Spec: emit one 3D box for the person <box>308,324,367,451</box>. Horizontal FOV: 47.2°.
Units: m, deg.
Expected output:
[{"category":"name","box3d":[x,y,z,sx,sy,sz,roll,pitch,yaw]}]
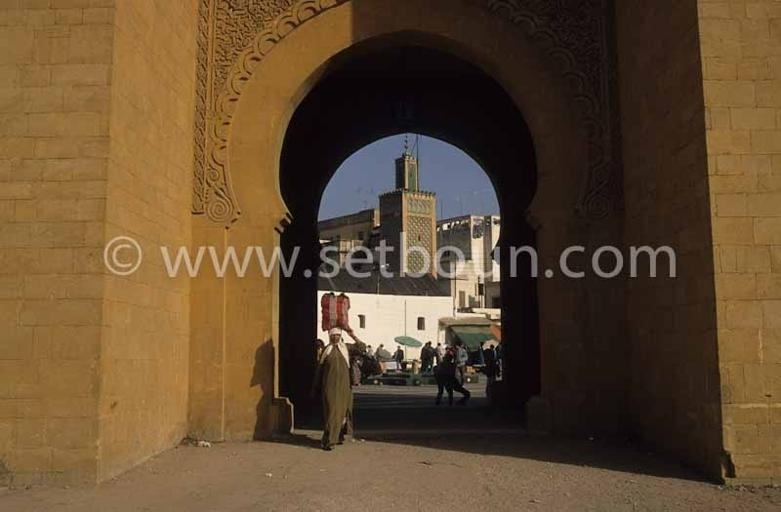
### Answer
[{"category":"person","box3d":[-0.817,1.848,12.508,0.477,1.656,0.879,-1,-7,5]}]
